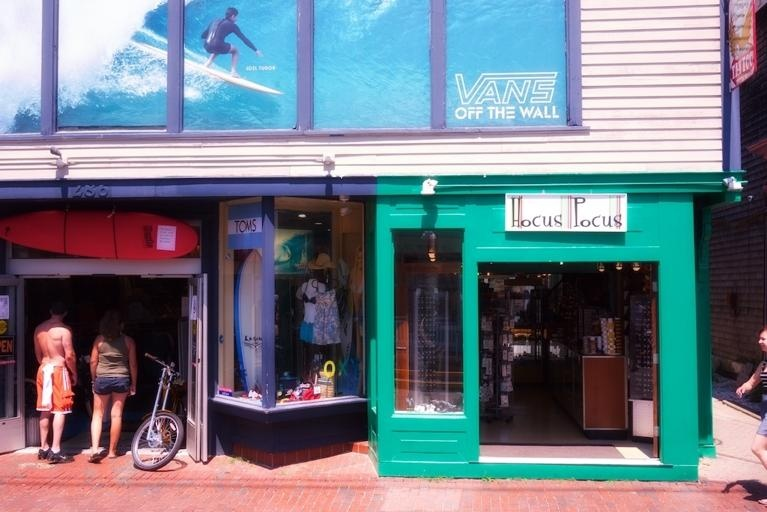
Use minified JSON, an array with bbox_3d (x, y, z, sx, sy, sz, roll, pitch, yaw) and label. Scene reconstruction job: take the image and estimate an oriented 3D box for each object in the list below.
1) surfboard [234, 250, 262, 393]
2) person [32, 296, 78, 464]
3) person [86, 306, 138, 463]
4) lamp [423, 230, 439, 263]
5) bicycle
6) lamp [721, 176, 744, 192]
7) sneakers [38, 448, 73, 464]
[{"bbox_3d":[-2.120,1.042,12.349,0.597,2.281,0.202,-4,-6,44],"label":"surfboard"},{"bbox_3d":[-5.193,1.975,12.273,0.606,2.517,0.291,1,-4,-16],"label":"person"},{"bbox_3d":[-4.302,2.046,12.400,0.679,2.379,0.479,1,-4,-15],"label":"person"},{"bbox_3d":[0.742,-0.165,11.996,0.186,0.487,0.185,-1,-4,10],"label":"lamp"},{"bbox_3d":[-3.558,2.437,12.346,0.755,1.757,1.019,1,-4,-16],"label":"bicycle"},{"bbox_3d":[5.243,-1.104,11.687,0.207,0.113,0.287,0,1,6],"label":"lamp"},{"bbox_3d":[-5.117,3.135,12.233,0.515,0.228,0.224,5,1,-14],"label":"sneakers"}]
